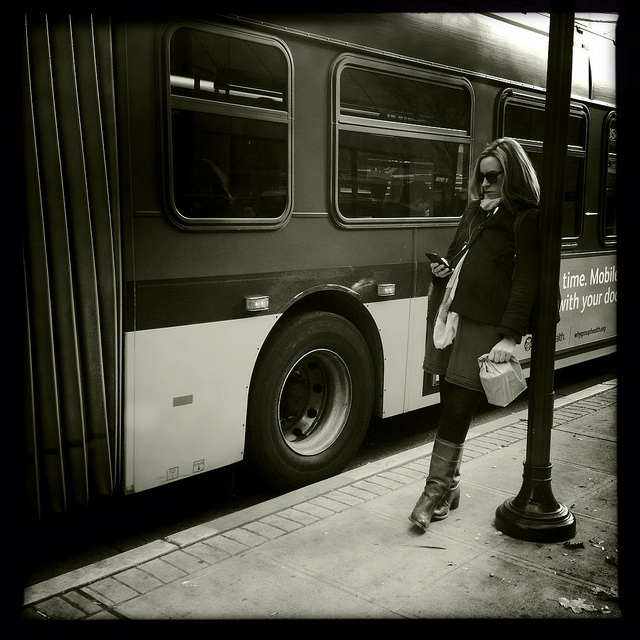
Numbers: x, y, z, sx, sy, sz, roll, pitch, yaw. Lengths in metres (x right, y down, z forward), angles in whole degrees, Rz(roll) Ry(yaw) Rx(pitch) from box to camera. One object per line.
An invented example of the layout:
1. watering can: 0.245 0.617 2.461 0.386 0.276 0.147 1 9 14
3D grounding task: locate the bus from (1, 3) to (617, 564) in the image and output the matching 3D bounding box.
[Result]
1. bus: -0.211 -0.571 4.253 3.641 3.602 0.461 -6 8 -40

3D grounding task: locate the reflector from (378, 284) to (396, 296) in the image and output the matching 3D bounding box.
1. reflector: 0.511 -0.232 4.940 0.175 0.089 0.019 -6 8 -39

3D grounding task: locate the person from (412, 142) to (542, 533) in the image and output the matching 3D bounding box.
1. person: 0.878 0.110 3.548 0.628 2.157 0.491 2 6 21

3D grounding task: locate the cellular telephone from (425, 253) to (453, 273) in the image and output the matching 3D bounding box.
1. cellular telephone: 0.694 -0.329 3.672 0.136 0.107 0.258 2 8 12

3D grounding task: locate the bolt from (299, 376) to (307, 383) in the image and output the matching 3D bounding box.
1. bolt: -0.128 0.445 4.703 0.056 0.046 0.005 -6 8 -40

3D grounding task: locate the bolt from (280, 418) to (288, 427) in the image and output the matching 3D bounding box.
1. bolt: -0.266 0.752 4.645 0.010 0.067 0.092 3 8 29
